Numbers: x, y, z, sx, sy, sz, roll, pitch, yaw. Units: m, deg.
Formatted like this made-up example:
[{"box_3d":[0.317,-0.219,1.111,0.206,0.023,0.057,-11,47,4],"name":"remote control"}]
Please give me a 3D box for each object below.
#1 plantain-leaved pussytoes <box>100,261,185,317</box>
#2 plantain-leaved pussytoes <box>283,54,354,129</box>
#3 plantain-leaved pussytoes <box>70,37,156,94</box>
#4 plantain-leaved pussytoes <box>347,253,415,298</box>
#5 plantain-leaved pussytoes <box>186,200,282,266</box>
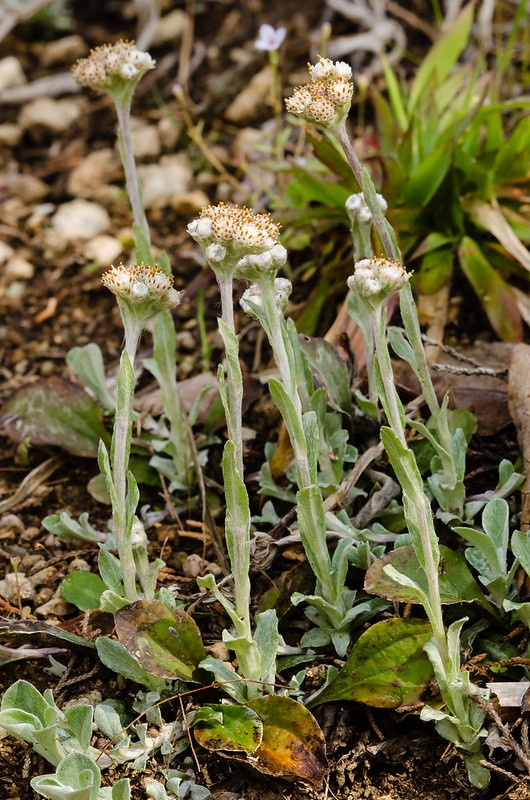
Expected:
[{"box_3d":[-0.172,-0.146,1.069,0.087,0.071,0.084,14,3,-39],"name":"plantain-leaved pussytoes"},{"box_3d":[0.089,-0.434,1.100,0.070,0.093,0.105,26,32,-3],"name":"plantain-leaved pussytoes"},{"box_3d":[-0.246,-0.535,1.253,0.123,0.077,0.121,-22,42,-2],"name":"plantain-leaved pussytoes"},{"box_3d":[0.141,-0.153,0.994,0.057,0.043,0.064,-34,44,-14],"name":"plantain-leaved pussytoes"},{"box_3d":[-0.042,-0.201,1.010,0.097,0.078,0.087,18,23,4],"name":"plantain-leaved pussytoes"}]
